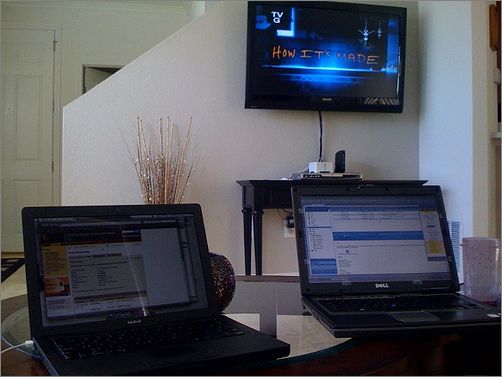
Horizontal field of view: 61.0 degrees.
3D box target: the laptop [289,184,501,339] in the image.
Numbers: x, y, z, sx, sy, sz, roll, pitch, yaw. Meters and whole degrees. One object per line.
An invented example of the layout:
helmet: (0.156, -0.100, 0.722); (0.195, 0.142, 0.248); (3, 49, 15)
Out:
laptop: (0.341, 0.150, 1.078); (0.436, 0.269, 0.444); (-1, 12, -6)
